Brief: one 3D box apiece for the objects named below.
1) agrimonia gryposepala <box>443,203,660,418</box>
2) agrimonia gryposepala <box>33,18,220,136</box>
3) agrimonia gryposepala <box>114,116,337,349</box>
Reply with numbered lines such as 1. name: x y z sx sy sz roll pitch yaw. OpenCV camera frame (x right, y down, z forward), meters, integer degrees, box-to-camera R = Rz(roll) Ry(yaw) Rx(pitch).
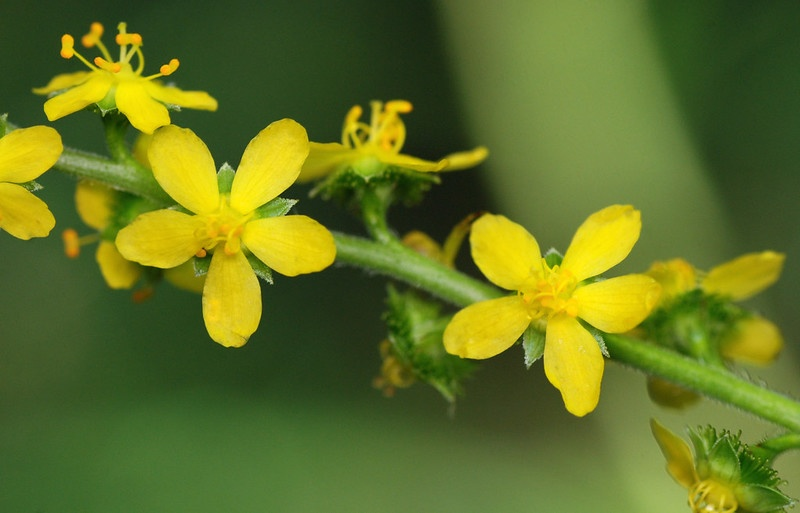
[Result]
1. agrimonia gryposepala: 0.572 0.192 2.710 0.752 0.623 0.196 -13 -12 25
2. agrimonia gryposepala: -1.010 -0.623 2.845 0.561 0.565 0.235 13 -58 -11
3. agrimonia gryposepala: -0.623 -0.040 2.709 0.789 0.734 0.206 -15 -19 37
